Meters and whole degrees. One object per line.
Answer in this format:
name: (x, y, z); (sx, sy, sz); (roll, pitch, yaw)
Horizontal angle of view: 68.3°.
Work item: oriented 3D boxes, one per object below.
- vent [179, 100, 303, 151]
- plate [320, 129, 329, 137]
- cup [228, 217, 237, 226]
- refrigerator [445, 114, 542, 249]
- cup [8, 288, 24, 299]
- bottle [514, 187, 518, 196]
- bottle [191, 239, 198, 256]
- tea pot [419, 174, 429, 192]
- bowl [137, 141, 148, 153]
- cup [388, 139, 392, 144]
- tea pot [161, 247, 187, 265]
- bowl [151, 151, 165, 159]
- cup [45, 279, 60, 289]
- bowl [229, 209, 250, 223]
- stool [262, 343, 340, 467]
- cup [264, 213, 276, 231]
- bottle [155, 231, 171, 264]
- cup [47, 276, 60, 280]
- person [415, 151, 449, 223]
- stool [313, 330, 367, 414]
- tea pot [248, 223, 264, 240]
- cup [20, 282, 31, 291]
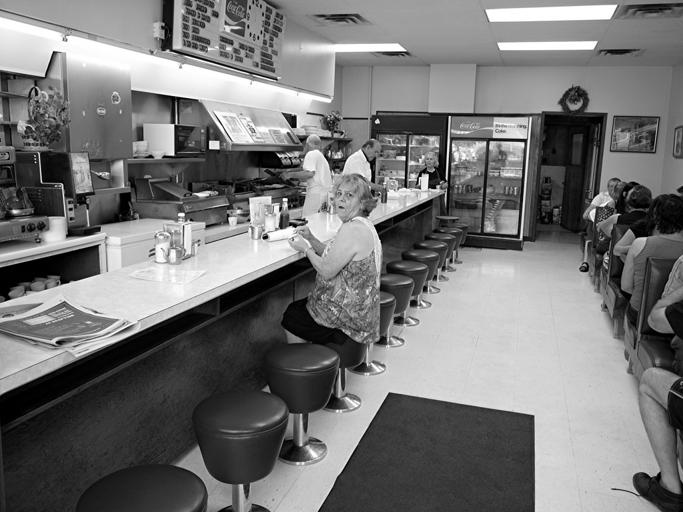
vent: (-1.342, -1.702, 6.565); (0.394, 0.459, 1.313); (7, 13, 20)
plate: (-0.323, -2.428, 9.933); (0.200, 0.077, 0.211); (2, 8, 19)
cup: (-1.109, -0.355, 5.124); (0.078, 0.068, 0.073); (-1, 5, 0)
refrigerator: (3.050, -1.521, 10.131); (1.936, 2.588, 1.080); (3, 13, 7)
cup: (-2.376, 0.275, 3.689); (0.097, 0.081, 0.086); (4, 10, 20)
bottle: (3.500, -1.299, 10.090); (0.113, 0.163, 0.053); (7, 14, 23)
bottle: (-0.988, -0.060, 3.429); (0.019, 0.102, 0.083); (5, 14, 14)
tea pot: (1.457, -1.295, 8.823); (0.131, 0.240, 0.385); (4, 14, 11)
bowl: (-2.087, -1.152, 5.300); (0.066, 0.115, 0.130); (5, 14, 16)
cup: (1.040, -2.456, 10.766); (0.096, 0.103, 0.058); (5, 26, 10)
tea pot: (-1.054, -0.003, 3.159); (0.133, 0.095, 0.081); (-2, 8, -13)
bowl: (-1.951, -1.079, 5.388); (0.092, 0.060, 0.097); (0, 1, 0)
cup: (-2.277, 0.219, 3.962); (0.096, 0.068, 0.068); (-3, 6, -33)
bowl: (-1.126, -0.453, 5.610); (0.194, 0.095, 0.202); (2, 0, 0)
stool: (-0.233, 0.948, 3.322); (0.612, 0.923, 0.664); (1, 5, -4)
cup: (-0.590, -0.279, 4.162); (0.094, 0.132, 0.064); (-1, 13, -10)
bottle: (-1.124, -0.055, 3.167); (0.105, 0.196, 0.180); (3, 8, -5)
cup: (-2.376, 0.180, 4.175); (0.039, 0.025, 0.058); (2, 0, 10)
person: (1.860, -1.441, 10.010); (0.643, 1.232, 1.131); (0, 14, -8)
stool: (0.031, 0.884, 3.735); (0.465, 0.794, 0.515); (0, 1, -1)
tea pot: (-0.683, -0.192, 4.038); (0.090, 0.121, 0.128); (1, 4, -7)
cup: (-2.501, 0.245, 3.988); (0.068, 0.057, 0.071); (1, -3, 0)
